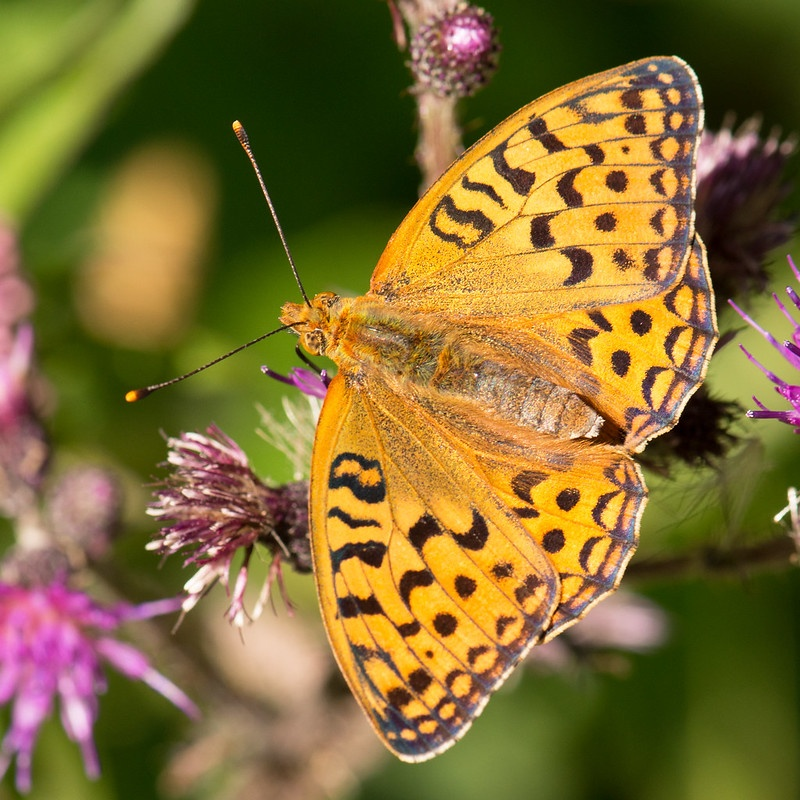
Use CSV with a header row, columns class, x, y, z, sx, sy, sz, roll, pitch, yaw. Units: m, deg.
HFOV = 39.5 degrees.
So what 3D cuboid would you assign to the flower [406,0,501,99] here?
class,x,y,z,sx,sy,sz,roll,pitch,yaw
flower,0.136,-0.845,2.693,0.249,0.074,0.215,0,-64,-15
